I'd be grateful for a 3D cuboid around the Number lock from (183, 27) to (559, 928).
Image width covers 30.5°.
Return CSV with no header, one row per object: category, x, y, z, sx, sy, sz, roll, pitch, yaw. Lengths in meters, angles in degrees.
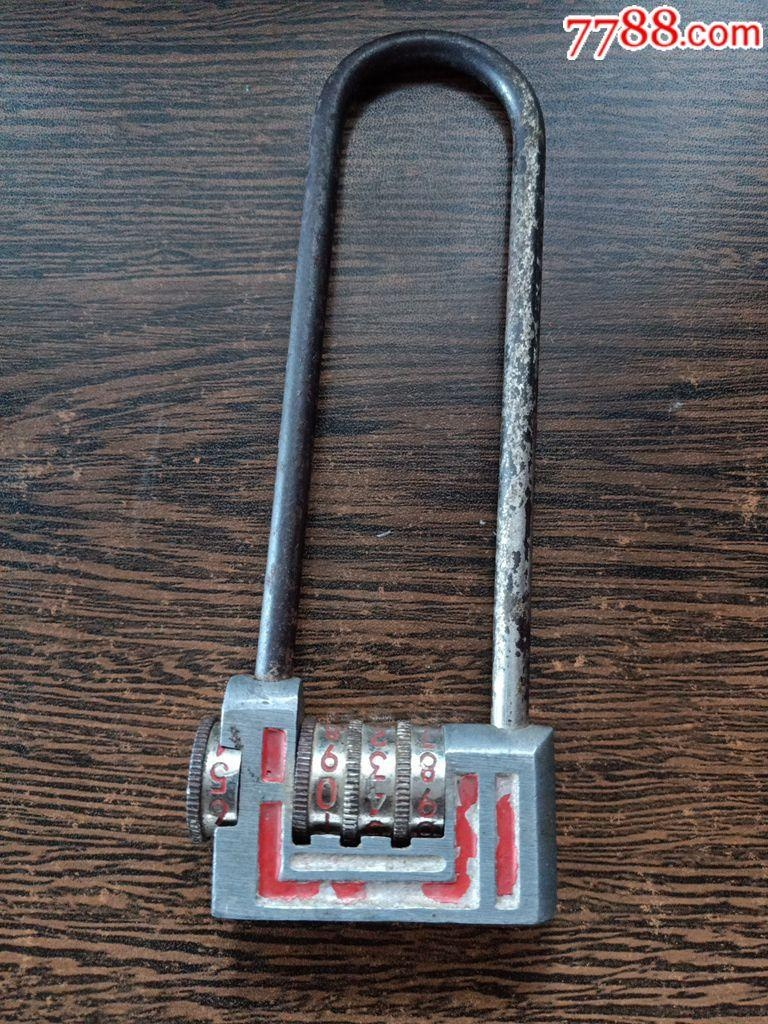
Number lock,0.004,-0.024,1.085,0.278,0.673,0.099,2,1,-3
